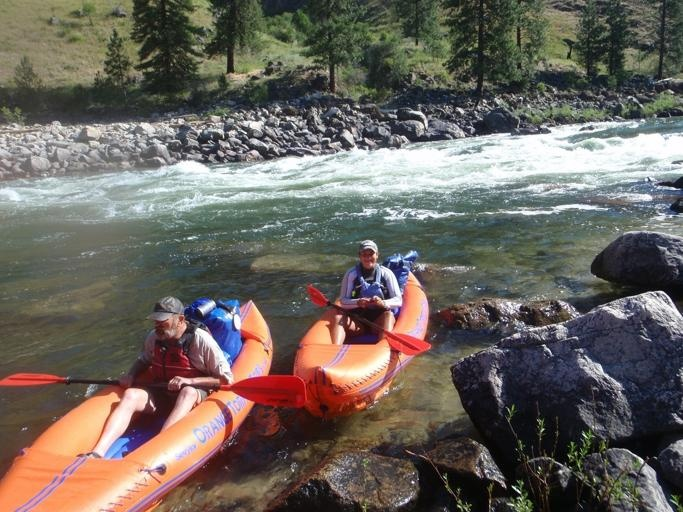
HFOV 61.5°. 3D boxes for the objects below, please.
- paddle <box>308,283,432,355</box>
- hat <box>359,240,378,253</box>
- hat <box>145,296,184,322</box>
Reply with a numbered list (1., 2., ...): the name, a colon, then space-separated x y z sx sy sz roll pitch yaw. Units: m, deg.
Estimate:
1. paddle: 0.411 0.853 7.605 0.183 0.273 1.626 -22 40 -41
2. hat: 0.363 -0.139 7.856 0.236 0.142 0.276 -2 14 -6
3. hat: -1.954 0.542 6.363 0.242 0.204 0.350 2 13 24
